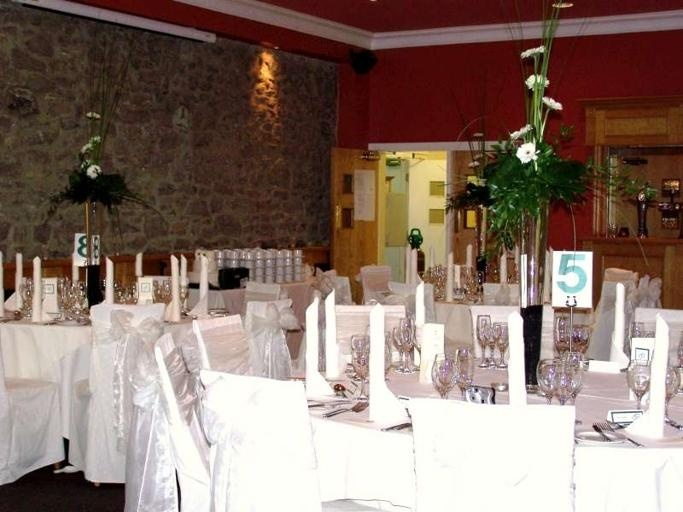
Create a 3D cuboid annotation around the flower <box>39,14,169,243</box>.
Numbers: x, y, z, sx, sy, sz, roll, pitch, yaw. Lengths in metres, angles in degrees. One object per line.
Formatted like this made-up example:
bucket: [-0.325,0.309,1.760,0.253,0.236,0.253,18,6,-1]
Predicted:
flower: [-2.613,-1.354,6.834,1.085,1.924,1.170,0,-3,15]
